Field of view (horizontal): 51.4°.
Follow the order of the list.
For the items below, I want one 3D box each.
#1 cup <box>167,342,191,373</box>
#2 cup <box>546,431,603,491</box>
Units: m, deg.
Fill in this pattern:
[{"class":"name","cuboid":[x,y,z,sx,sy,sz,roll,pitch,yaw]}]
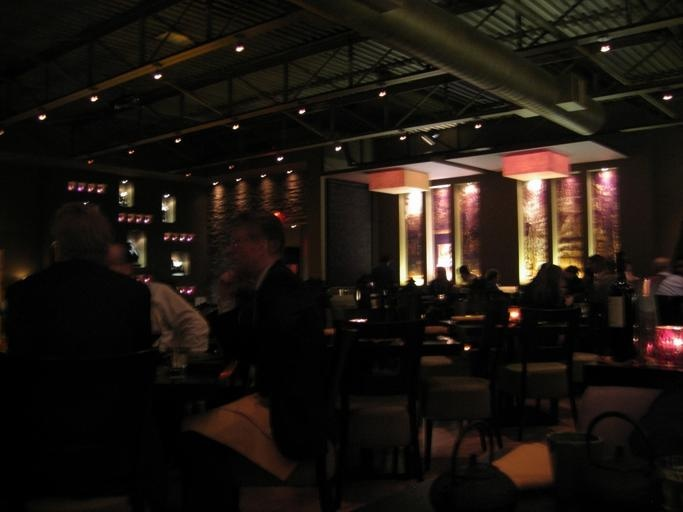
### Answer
[{"class":"cup","cuboid":[-0.861,0.538,3.709,0.131,0.142,0.121,1,-9,0]},{"class":"cup","cuboid":[0.830,0.744,2.541,0.157,0.139,0.172,0,-3,0]}]
